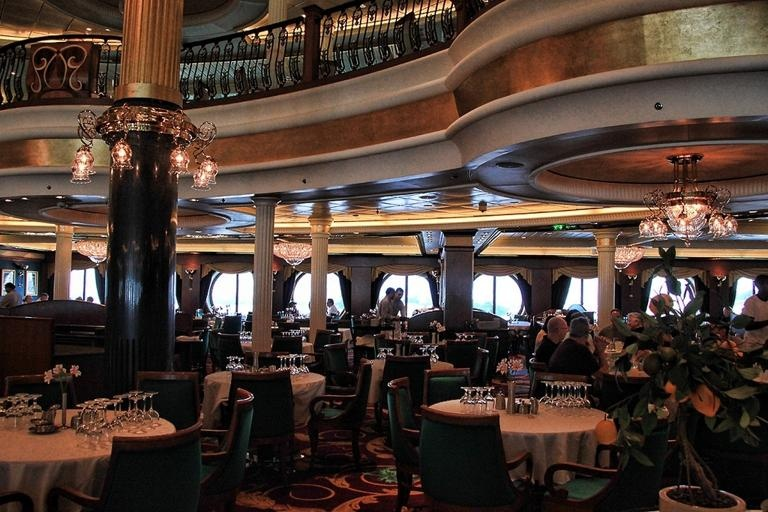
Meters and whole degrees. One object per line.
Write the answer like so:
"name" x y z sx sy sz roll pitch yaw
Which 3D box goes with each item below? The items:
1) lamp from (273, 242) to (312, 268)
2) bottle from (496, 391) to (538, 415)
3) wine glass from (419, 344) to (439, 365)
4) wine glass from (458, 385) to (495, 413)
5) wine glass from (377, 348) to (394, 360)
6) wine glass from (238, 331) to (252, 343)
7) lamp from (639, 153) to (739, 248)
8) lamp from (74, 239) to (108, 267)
"lamp" -2.335 -0.092 15.917 0.968 0.570 0.887 0 -3 4
"bottle" 1.334 1.470 6.065 0.310 0.110 0.185 -1 -5 14
"wine glass" 0.748 1.544 9.644 0.396 0.330 0.328 7 -13 -41
"wine glass" 0.893 1.425 6.023 0.320 0.245 0.326 -10 -14 37
"wine glass" 0.018 1.554 9.681 0.262 0.271 0.435 0 -6 1
"wine glass" -2.683 1.579 11.917 0.288 0.170 0.276 6 -8 -34
"lamp" 4.366 -0.658 8.835 1.487 1.455 1.362 0 -7 19
"lamp" -8.620 -0.094 17.960 1.004 0.452 0.949 2 -7 -26
